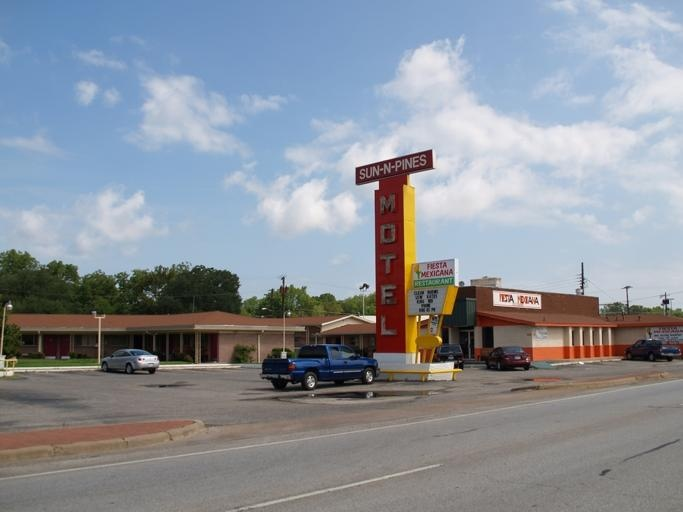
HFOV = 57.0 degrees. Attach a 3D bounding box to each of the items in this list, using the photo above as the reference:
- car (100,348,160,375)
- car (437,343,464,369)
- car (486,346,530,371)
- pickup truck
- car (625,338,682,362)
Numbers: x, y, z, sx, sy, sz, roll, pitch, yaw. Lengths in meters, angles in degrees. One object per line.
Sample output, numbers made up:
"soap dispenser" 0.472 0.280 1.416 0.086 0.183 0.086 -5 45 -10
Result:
"car" -13.615 6.835 40.494 3.939 1.366 1.691 -2 -7 33
"car" 7.268 6.776 41.926 1.883 1.532 0.971 0 -10 -5
"car" 11.396 6.981 42.779 1.899 1.652 2.791 5 -12 -28
"pickup truck" -0.796 5.153 28.995 5.163 1.994 1.557 8 -14 -41
"car" 26.079 7.964 52.321 2.087 1.446 3.789 3 -5 -28
